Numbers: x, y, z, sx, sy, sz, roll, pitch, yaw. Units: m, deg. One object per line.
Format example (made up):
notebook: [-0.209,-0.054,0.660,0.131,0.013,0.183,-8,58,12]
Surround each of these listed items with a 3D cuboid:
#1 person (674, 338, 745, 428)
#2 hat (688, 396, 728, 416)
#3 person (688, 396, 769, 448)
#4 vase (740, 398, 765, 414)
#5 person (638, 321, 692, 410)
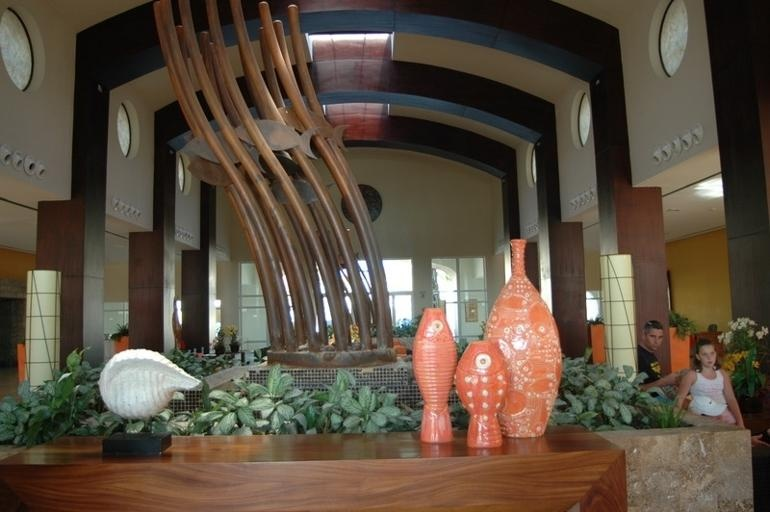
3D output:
person: [3.061,1.339,5.292,0.601,1.084,0.310,-7,19,17]
hat: [3.043,1.360,5.247,0.339,0.181,0.257,-3,5,-35]
person: [3.324,1.554,5.143,0.641,0.215,0.768,1,-3,-6]
vase: [3.753,1.526,5.632,0.156,0.129,0.167,0,-8,-1]
person: [2.883,1.190,5.767,0.538,1.005,0.476,1,9,39]
